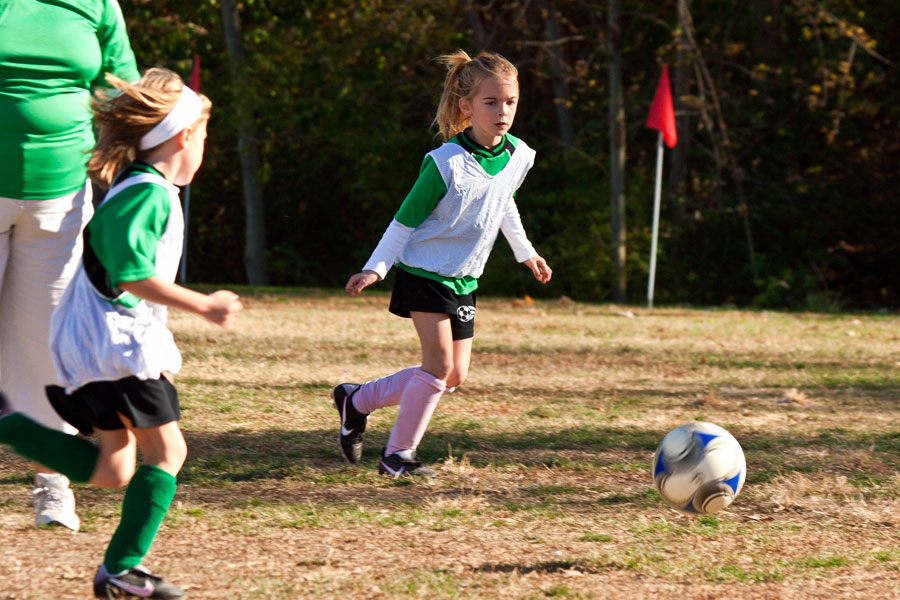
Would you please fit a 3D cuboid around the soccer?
[{"bbox_3d":[1.193,0.813,6.588,0.467,0.393,0.483,-1,25,-17],"label":"soccer"}]

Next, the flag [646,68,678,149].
[{"bbox_3d":[1.094,-0.994,7.065,0.161,0.407,0.244,3,16,8],"label":"flag"}]

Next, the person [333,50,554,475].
[{"bbox_3d":[-0.086,-0.191,7.141,1.152,2.113,0.526,-11,20,-37],"label":"person"}]

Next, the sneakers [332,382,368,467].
[{"bbox_3d":[-0.507,0.664,7.360,0.221,0.422,0.158,-11,-1,22],"label":"sneakers"}]
